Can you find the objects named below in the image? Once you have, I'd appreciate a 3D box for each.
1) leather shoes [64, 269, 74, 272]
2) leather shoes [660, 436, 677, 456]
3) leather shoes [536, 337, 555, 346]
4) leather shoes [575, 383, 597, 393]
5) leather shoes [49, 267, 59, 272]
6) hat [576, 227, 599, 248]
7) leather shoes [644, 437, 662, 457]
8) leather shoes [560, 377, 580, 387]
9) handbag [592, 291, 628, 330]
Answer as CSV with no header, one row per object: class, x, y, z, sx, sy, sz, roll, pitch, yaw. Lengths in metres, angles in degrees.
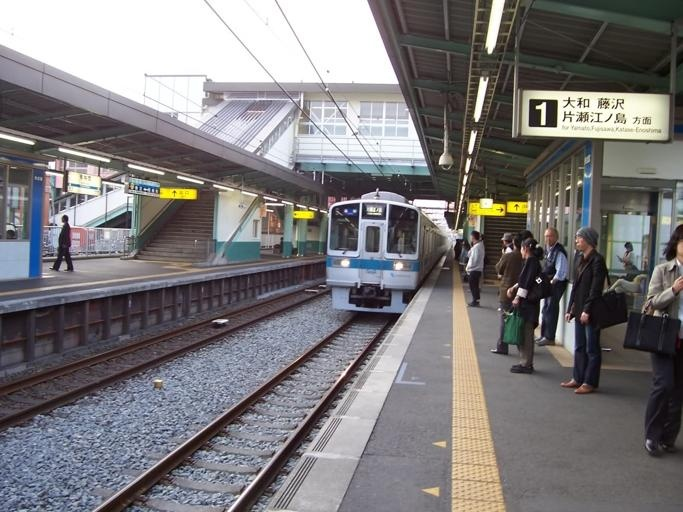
leather shoes,-9.290,0.492,17.443,0.256,0.103,0.081,-2,6,20
leather shoes,3.166,1.823,4.951,0.088,0.169,0.258,0,11,26
leather shoes,3.616,1.536,9.137,0.378,0.157,0.125,2,-1,9
leather shoes,3.122,1.669,6.438,0.352,0.135,0.114,3,-4,-18
leather shoes,-9.810,0.466,17.470,0.288,0.117,0.087,18,10,16
hat,2.994,-0.221,6.213,0.218,0.242,0.210,2,4,24
leather shoes,3.006,1.824,4.841,0.094,0.180,0.265,-5,-16,9
leather shoes,2.967,1.663,6.691,0.291,0.118,0.095,0,-3,-5
handbag,3.154,0.629,5.962,0.326,0.434,0.199,2,5,25
